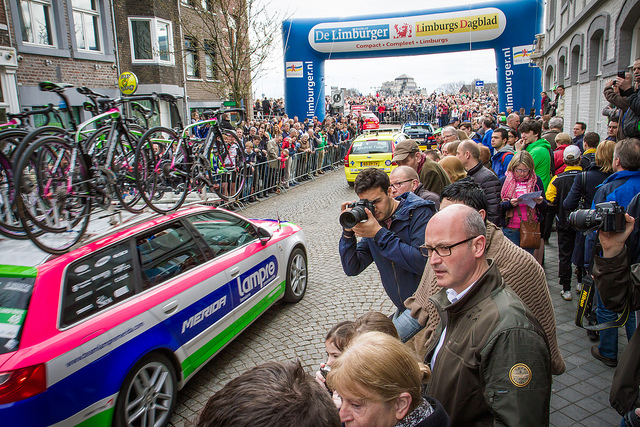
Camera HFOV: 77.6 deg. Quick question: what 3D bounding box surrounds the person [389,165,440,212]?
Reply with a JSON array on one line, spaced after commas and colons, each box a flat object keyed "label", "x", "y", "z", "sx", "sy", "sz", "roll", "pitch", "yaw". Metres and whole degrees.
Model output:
[{"label": "person", "x": 1.157, "y": -0.303, "z": 4.710, "sx": 0.751, "sy": 0.358, "sz": 0.455, "roll": 18, "pitch": -11, "yaw": -26}]

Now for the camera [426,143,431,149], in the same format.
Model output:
[{"label": "camera", "x": 5.662, "y": -3.528, "z": 20.569, "sx": 0.239, "sy": 0.293, "sz": 0.249, "roll": -2, "pitch": 1, "yaw": 5}]

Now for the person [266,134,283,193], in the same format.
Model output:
[{"label": "person", "x": -1.724, "y": -1.885, "z": 14.978, "sx": 0.376, "sy": 2.134, "sz": 1.156, "roll": 5, "pitch": 16, "yaw": 23}]

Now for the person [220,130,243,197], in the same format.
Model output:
[{"label": "person", "x": -1.794, "y": -1.025, "z": 8.082, "sx": 0.459, "sy": 1.290, "sz": 0.824, "roll": -5, "pitch": 15, "yaw": -12}]

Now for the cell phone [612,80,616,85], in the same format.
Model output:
[{"label": "cell phone", "x": 4.768, "y": -2.120, "z": 6.404, "sx": 0.058, "sy": 0.062, "sz": 0.018, "roll": 8, "pitch": 8, "yaw": 27}]

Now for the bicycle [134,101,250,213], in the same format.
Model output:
[{"label": "bicycle", "x": -2.319, "y": -1.105, "z": 7.806, "sx": 2.705, "sy": 1.642, "sz": 0.697, "roll": 6, "pitch": 11, "yaw": 38}]

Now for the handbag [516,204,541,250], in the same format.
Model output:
[{"label": "handbag", "x": 3.271, "y": 0.174, "z": 6.113, "sx": 0.328, "sy": 0.570, "sz": 0.290, "roll": -5, "pitch": 8, "yaw": 11}]

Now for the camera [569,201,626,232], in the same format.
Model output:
[{"label": "camera", "x": 2.209, "y": 0.024, "z": 3.161, "sx": 0.354, "sy": 0.215, "sz": 0.334, "roll": -2, "pitch": -1, "yaw": 44}]

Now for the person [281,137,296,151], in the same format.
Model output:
[{"label": "person", "x": -1.214, "y": -2.849, "z": 15.830, "sx": 0.271, "sy": 0.432, "sz": 0.751, "roll": 8, "pitch": 17, "yaw": 34}]

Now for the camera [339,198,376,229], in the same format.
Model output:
[{"label": "camera", "x": 0.355, "y": 0.003, "z": 3.697, "sx": 0.241, "sy": 0.181, "sz": 0.306, "roll": -15, "pitch": 9, "yaw": 36}]

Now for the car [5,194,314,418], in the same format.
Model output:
[{"label": "car", "x": -1.900, "y": 0.966, "z": 4.778, "sx": 1.359, "sy": 1.110, "sz": 3.362, "roll": -3, "pitch": 8, "yaw": 29}]
